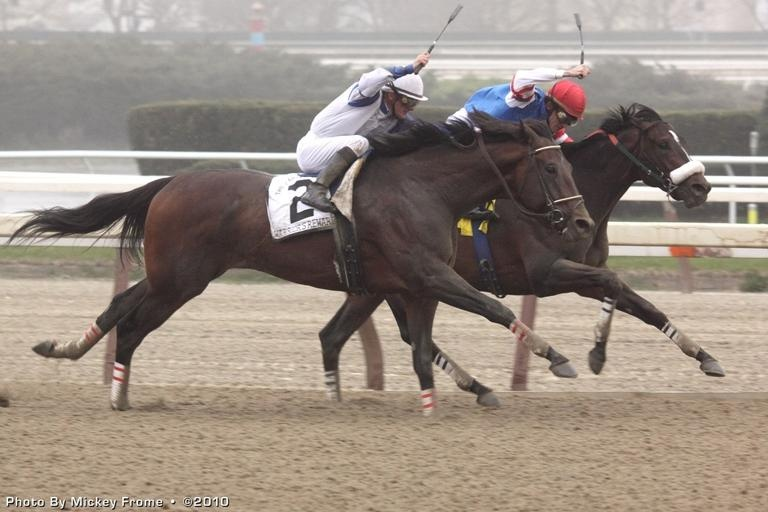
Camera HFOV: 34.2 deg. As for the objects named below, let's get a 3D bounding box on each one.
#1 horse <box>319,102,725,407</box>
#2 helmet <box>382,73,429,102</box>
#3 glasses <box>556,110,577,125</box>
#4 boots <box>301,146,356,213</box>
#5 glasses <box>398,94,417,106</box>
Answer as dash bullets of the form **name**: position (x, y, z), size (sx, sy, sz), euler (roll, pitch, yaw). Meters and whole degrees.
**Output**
- **horse**: position (1.285, 0.115, 10.627), size (1.159, 2.120, 4.351), euler (0, -7, -38)
- **helmet**: position (0.192, -1.273, 9.512), size (0.348, 0.111, 0.217), euler (8, 25, -5)
- **glasses**: position (1.462, -1.094, 9.860), size (0.125, 0.044, 0.141), euler (6, 19, -30)
- **boots**: position (-0.374, -0.572, 9.329), size (0.410, 0.472, 0.206), euler (-12, 18, -37)
- **glasses**: position (0.183, -1.188, 9.520), size (0.099, 0.027, 0.097), euler (6, 20, -25)
